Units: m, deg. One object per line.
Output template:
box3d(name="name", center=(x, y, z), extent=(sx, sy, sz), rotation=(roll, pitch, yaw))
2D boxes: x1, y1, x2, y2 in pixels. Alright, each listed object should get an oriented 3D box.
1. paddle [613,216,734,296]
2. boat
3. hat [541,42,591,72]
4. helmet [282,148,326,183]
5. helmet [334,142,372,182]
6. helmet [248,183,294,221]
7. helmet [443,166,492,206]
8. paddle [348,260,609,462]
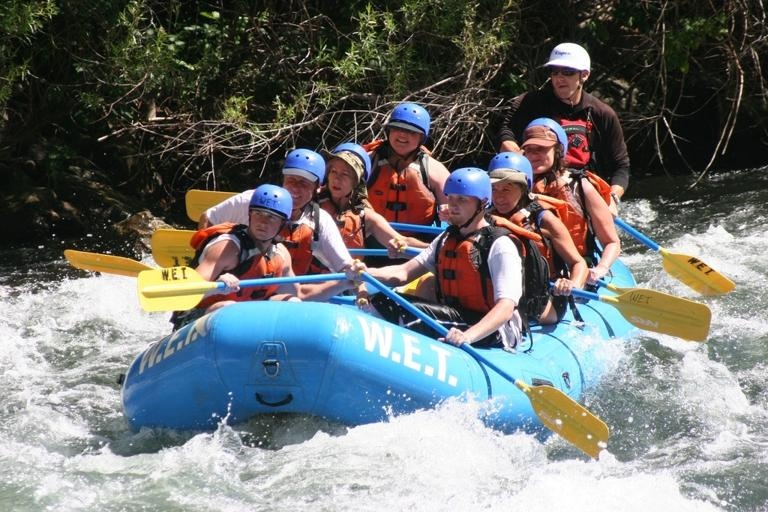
box3d(name="paddle", center=(3.489, 0.030, 11.339), extent=(1.322, 0.359, 0.071), rotation=(38, 43, 10))
box3d(name="boat", center=(-0.212, 1.496, 10.396), extent=(3.192, 1.139, 5.285), rotation=(-6, -12, 15))
box3d(name="hat", center=(2.093, -2.212, 10.583), extent=(0.426, 0.213, 0.313), rotation=(9, -2, -44))
box3d(name="helmet", center=(-0.770, -0.905, 9.253), extent=(0.274, 0.395, 0.295), rotation=(13, 55, 10))
box3d(name="helmet", center=(-0.297, -0.948, 9.907), extent=(0.340, 0.465, 0.394), rotation=(6, 29, 23))
box3d(name="helmet", center=(-1.042, -0.469, 8.801), extent=(0.392, 0.413, 0.523), rotation=(15, 3, -5))
box3d(name="helmet", center=(0.790, -0.637, 8.883), extent=(0.495, 0.389, 0.459), rotation=(4, 9, -12))
box3d(name="paddle", center=(0.784, 0.987, 8.489), extent=(2.667, 0.297, 0.179), rotation=(36, 26, -2))
